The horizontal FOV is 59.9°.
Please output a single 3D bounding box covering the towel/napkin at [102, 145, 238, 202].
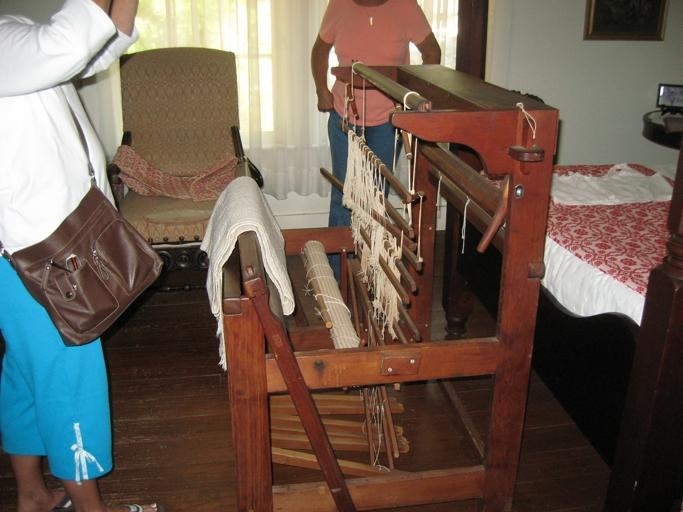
[{"bbox_3d":[-0.967,-0.434,3.384,0.638,0.217,0.454,0,37,-14],"label":"towel/napkin"}]
